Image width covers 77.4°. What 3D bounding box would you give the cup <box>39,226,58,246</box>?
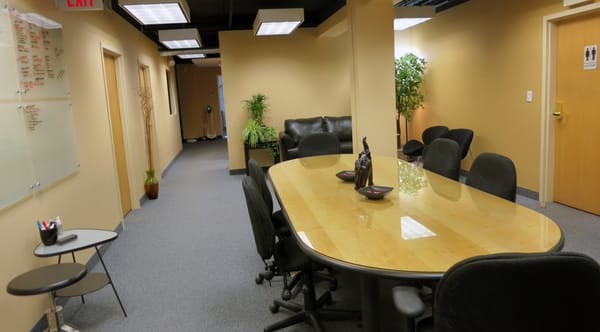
[{"bbox_3d":[-2.646,0.729,3.977,0.203,0.209,0.199,-1,0,0],"label":"cup"}]

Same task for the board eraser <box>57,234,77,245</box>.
[{"bbox_3d":[-2.499,0.781,4.016,0.085,0.031,0.141,8,18,38],"label":"board eraser"}]

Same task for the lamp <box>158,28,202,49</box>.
[{"bbox_3d":[-2.621,-2.828,8.234,0.807,0.322,1.146,-3,12,-12],"label":"lamp"}]

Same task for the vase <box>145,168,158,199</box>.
[{"bbox_3d":[-2.971,0.363,7.447,0.331,0.575,0.208,6,15,26],"label":"vase"}]

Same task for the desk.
[{"bbox_3d":[-2.411,1.165,3.919,0.654,0.729,0.916,-24,48,-6],"label":"desk"}]

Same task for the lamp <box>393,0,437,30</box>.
[{"bbox_3d":[2.111,-2.977,7.331,0.858,0.389,0.869,-2,13,-8],"label":"lamp"}]
